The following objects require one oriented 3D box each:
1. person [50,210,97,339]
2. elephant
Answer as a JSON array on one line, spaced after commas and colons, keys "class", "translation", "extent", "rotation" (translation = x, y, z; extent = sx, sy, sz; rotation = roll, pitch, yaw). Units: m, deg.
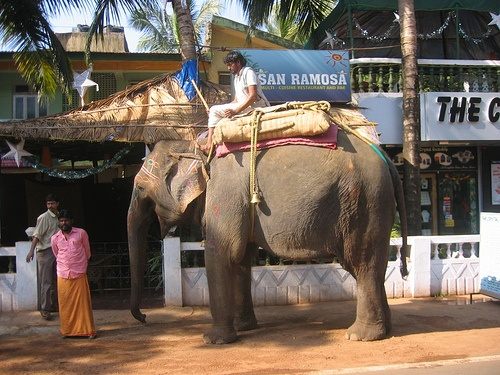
[{"class": "person", "translation": [-2.936, 1.431, 12.174], "extent": [0.576, 1.903, 0.518], "rotation": [-3, 1, -16]}, {"class": "elephant", "translation": [0.306, 0.772, 11.891], "extent": [4.221, 2.462, 1.055], "rotation": [-2, 1, 6]}]
